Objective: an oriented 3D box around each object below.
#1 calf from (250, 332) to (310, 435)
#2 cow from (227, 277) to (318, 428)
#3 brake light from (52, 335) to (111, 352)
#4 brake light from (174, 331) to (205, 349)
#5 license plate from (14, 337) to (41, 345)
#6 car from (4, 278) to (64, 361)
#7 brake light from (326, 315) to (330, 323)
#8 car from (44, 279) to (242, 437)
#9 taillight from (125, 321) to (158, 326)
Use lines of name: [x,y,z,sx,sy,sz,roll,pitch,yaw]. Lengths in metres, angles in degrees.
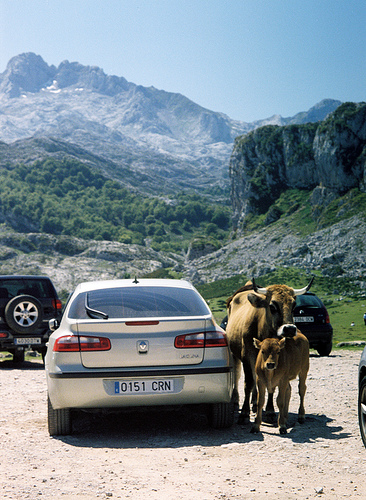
calf: [1.335,1.794,10.049,0.613,1.238,1.504,-1,-2,18]
cow: [1.328,1.542,11.314,1.363,2.296,3.330,1,-9,-5]
brake light: [-1.248,1.143,8.942,0.713,0.200,0.112,0,-2,14]
brake light: [0.068,1.118,9.084,0.289,0.097,0.209,-6,-1,-2]
license plate: [-3.710,2.130,17.183,0.612,0.169,0.083,0,-2,-7]
car: [-3.603,1.599,17.265,1.821,1.547,3.027,-1,6,-14]
brake light: [3.798,1.800,19.104,0.066,0.171,0.248,0,-2,10]
car: [-0.551,1.225,9.061,1.618,1.185,2.670,0,-2,-9]
taillight: [-0.517,0.894,8.980,0.394,0.051,0.037,0,-2,-4]
